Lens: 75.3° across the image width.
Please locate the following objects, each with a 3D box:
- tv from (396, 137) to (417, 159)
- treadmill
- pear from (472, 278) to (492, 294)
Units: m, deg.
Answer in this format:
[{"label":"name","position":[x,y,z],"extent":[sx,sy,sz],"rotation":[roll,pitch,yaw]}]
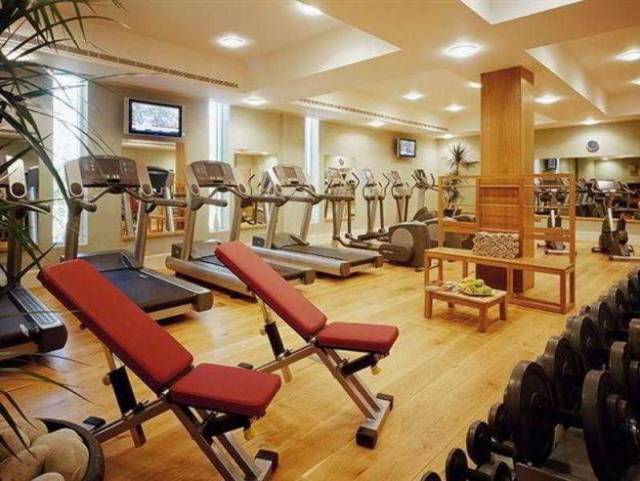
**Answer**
[{"label":"tv","position":[2.207,-2.395,10.670],"extent":[0.236,0.507,0.819],"rotation":[7,9,37]},{"label":"treadmill","position":[-1.710,-0.025,4.519],"extent":[2.502,2.084,1.598],"rotation":[4,5,33]},{"label":"pear","position":[1.558,0.432,3.990],"extent":[0.145,0.056,0.151],"rotation":[5,4,18]}]
